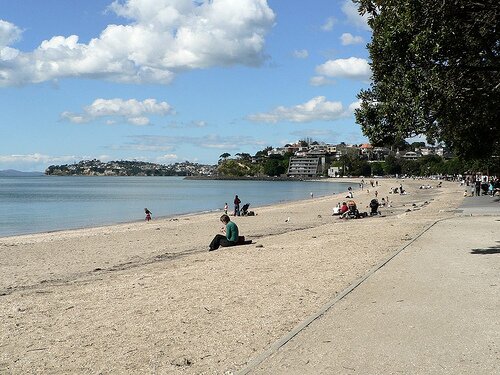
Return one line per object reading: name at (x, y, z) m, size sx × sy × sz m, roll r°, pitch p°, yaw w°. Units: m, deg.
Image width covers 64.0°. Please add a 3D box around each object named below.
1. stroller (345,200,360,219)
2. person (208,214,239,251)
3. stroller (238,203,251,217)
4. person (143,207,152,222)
stroller at (7.030, 1.596, 27.518) m, size 1.050 × 1.305 × 1.163 m, roll -1°, pitch 11°, yaw 21°
person at (-1.118, 1.901, 16.014) m, size 1.189 × 1.719 × 0.704 m, roll 8°, pitch 10°, yaw 16°
stroller at (-0.550, 2.106, 37.129) m, size 1.129 × 1.212 × 0.697 m, roll 6°, pitch 1°, yaw -25°
person at (-10.495, 2.762, 40.598) m, size 0.857 × 1.081 × 1.704 m, roll -1°, pitch -8°, yaw -6°
